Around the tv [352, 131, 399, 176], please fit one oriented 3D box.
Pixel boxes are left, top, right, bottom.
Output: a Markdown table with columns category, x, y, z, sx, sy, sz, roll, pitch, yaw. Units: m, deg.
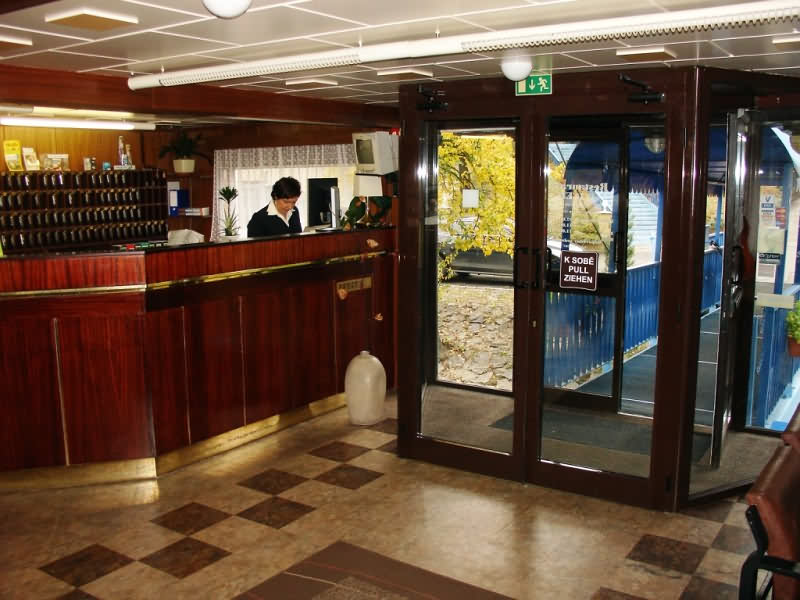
| category | x | y | z | sx | sy | sz | roll | pitch | yaw |
| --- | --- | --- | --- | --- | --- | --- | --- | --- | --- |
| tv | -0.267 | -1.739 | 7.280 | 0.460 | 0.429 | 0.449 | 8 | 17 | 41 |

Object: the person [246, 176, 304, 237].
| category | x | y | z | sx | sy | sz | roll | pitch | yaw |
| --- | --- | --- | --- | --- | --- | --- | --- | --- | --- |
| person | -1.461 | -1.085 | 7.079 | 0.597 | 0.654 | 1.007 | -3 | 11 | -11 |

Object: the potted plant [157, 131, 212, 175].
| category | x | y | z | sx | sy | sz | roll | pitch | yaw |
| --- | --- | --- | --- | --- | --- | --- | --- | --- | --- |
| potted plant | -3.613 | -2.464 | 10.196 | 0.798 | 0.611 | 0.824 | 0 | 11 | 0 |

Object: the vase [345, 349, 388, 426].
| category | x | y | z | sx | sy | sz | roll | pitch | yaw |
| --- | --- | --- | --- | --- | --- | --- | --- | --- | --- |
| vase | -0.354 | 0.898 | 6.308 | 0.410 | 0.766 | 0.225 | -2 | 11 | -8 |
